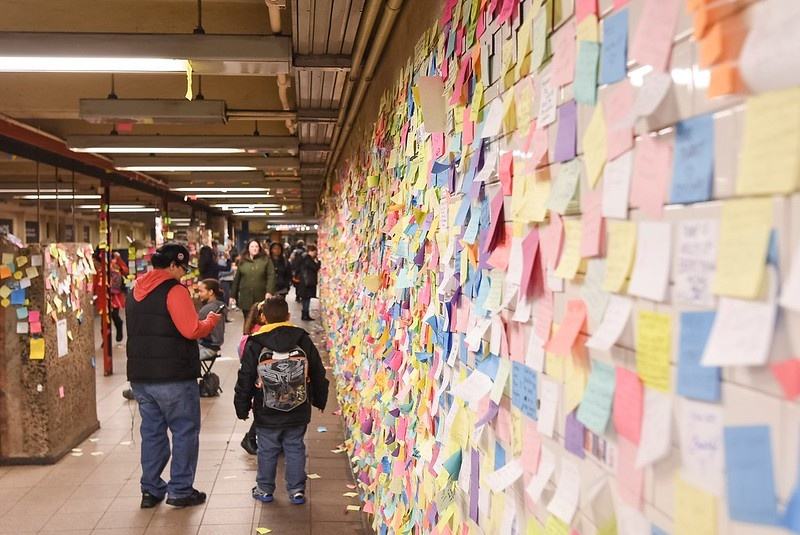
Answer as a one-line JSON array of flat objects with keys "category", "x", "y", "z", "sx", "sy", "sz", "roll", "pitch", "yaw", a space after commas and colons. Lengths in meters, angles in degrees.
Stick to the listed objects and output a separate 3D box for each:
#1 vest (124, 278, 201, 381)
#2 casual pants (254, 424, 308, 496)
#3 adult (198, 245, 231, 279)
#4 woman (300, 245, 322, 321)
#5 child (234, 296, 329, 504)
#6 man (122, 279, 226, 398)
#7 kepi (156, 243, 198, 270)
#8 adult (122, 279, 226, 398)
[{"category": "vest", "x": -1.468, "y": 0.372, "z": 3.552, "sx": 0.439, "sy": 0.619, "sz": 0.333, "roll": -2, "pitch": -1, "yaw": 19}, {"category": "casual pants", "x": -0.736, "y": 1.135, "z": 3.633, "sx": 0.325, "sy": 0.705, "sz": 0.211, "roll": 2, "pitch": 15, "yaw": -7}, {"category": "adult", "x": -3.496, "y": -0.085, "z": 10.803, "sx": 0.368, "sy": 0.954, "sz": 0.337, "roll": -14, "pitch": 27, "yaw": -30}, {"category": "woman", "x": -1.912, "y": 0.344, "z": 12.081, "sx": 0.551, "sy": 1.580, "sz": 0.539, "roll": 0, "pitch": -1, "yaw": 3}, {"category": "child", "x": -0.737, "y": 0.832, "z": 3.627, "sx": 0.573, "sy": 1.275, "sz": 0.379, "roll": -1, "pitch": 9, "yaw": -17}, {"category": "man", "x": -1.450, "y": 0.387, "z": 3.630, "sx": 0.556, "sy": 0.740, "sz": 0.571, "roll": -5, "pitch": -8, "yaw": 26}, {"category": "kepi", "x": -1.365, "y": -0.065, "z": 3.526, "sx": 0.126, "sy": 0.120, "sz": 0.188, "roll": 19, "pitch": 9, "yaw": 38}, {"category": "adult", "x": -1.445, "y": 0.379, "z": 3.622, "sx": 0.527, "sy": 0.700, "sz": 0.550, "roll": -4, "pitch": -7, "yaw": 24}]
